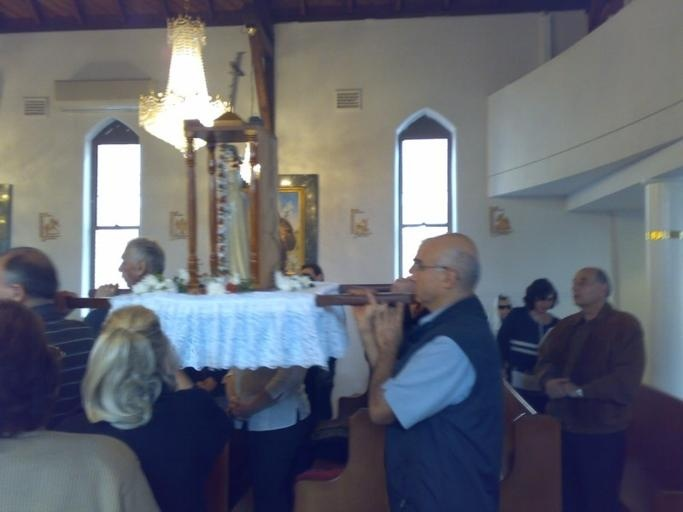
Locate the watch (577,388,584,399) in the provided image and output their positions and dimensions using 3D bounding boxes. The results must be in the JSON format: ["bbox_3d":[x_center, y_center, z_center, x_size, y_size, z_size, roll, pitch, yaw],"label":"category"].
[{"bbox_3d":[1.792,1.024,5.203,0.052,0.063,0.031,0,-2,4],"label":"watch"}]
